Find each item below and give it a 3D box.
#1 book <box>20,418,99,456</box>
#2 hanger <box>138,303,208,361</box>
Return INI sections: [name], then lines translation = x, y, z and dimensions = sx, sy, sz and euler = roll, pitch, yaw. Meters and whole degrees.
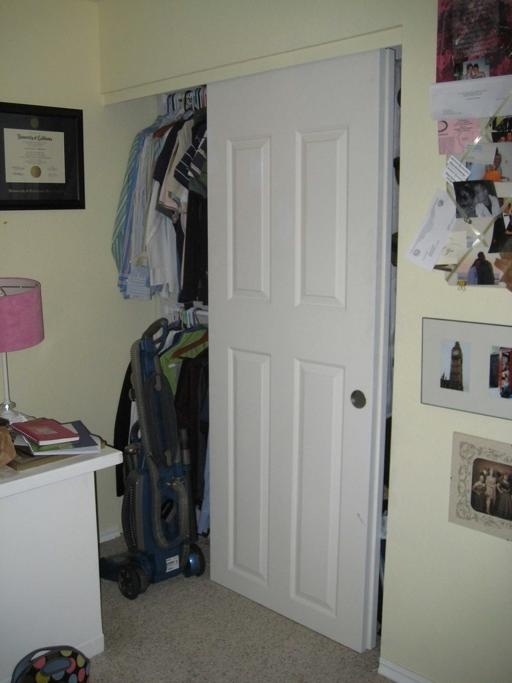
[book]
translation = -0.620, 0.310, 1.693
dimensions = 0.252, 0.062, 0.253
euler = -3, 5, -31
[hanger]
translation = -0.335, -0.089, 2.544
dimensions = 0.217, 0.128, 0.302
euler = -21, -1, -31
